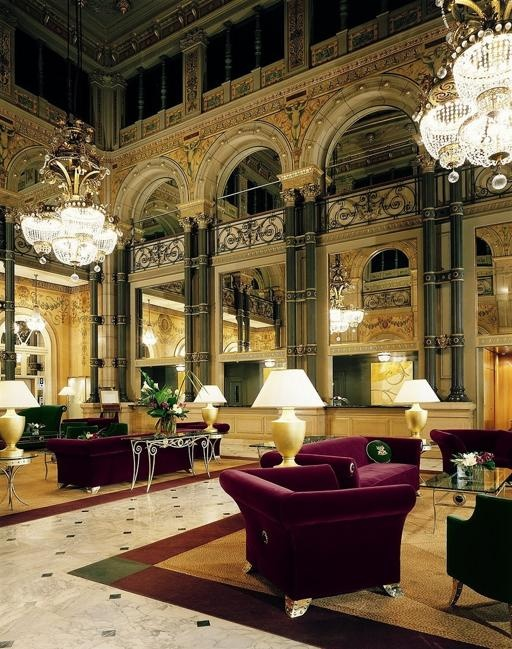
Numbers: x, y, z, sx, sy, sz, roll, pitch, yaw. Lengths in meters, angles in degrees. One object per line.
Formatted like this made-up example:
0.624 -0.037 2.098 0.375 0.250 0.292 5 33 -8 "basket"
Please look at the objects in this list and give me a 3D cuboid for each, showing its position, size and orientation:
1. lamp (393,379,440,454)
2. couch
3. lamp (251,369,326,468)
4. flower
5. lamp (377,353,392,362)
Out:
1.830 1.022 6.507 0.520 0.758 0.486 7 -12 -37 "lamp"
-1.597 1.645 6.991 0.919 0.621 1.599 -6 -8 42 "couch"
0.240 0.708 4.297 0.579 0.688 0.555 0 -13 7 "lamp"
-1.182 0.985 7.030 0.551 0.712 0.611 1 -6 -17 "flower"
3.184 0.834 14.197 0.330 0.150 1.546 -2 -6 12 "lamp"
